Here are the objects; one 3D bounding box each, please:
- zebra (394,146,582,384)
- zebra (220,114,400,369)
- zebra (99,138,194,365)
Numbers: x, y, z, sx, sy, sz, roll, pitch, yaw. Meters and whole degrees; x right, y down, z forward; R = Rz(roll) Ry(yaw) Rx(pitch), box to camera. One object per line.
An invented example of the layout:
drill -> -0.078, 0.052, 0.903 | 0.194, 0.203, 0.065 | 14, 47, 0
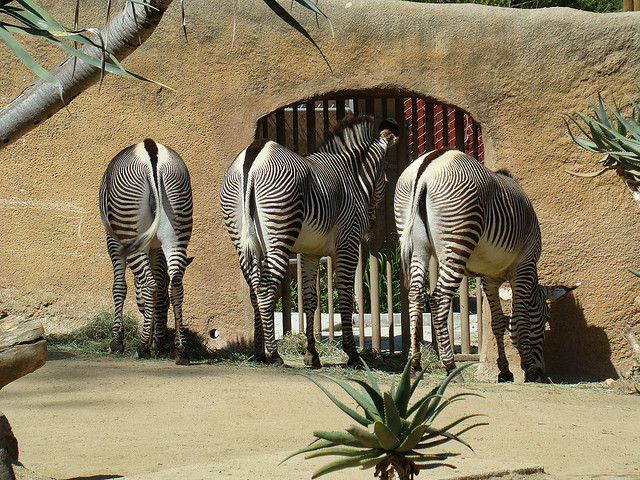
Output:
zebra -> 1.859, 0.470, 11.024 | 0.894, 2.448, 3.242 | -7, -15, 39
zebra -> -0.131, 0.016, 10.993 | 0.828, 2.746, 2.724 | -4, -6, 35
zebra -> -1.718, 0.165, 10.176 | 0.905, 2.215, 0.962 | 1, -14, -13
